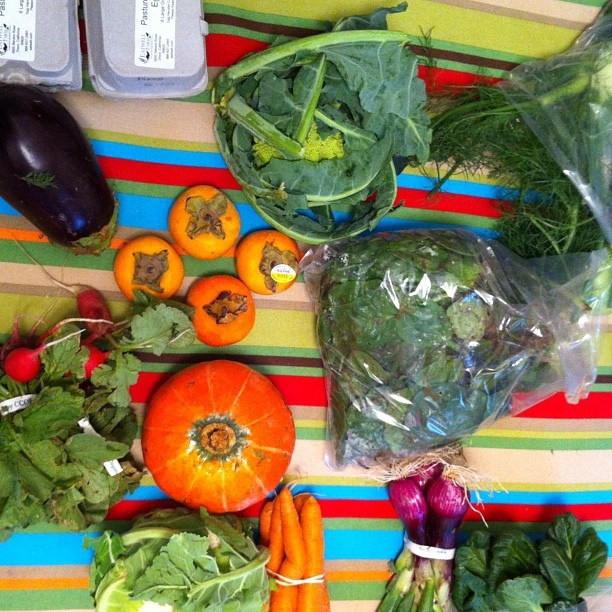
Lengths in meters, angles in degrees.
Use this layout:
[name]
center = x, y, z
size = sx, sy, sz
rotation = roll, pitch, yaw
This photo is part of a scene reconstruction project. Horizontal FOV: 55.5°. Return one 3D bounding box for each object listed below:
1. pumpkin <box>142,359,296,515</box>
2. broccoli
[pumpkin]
center = -0.171, 0.293, 1.362
size = 0.409, 0.312, 0.179
rotation = -5, -9, 16
[broccoli]
center = 0.042, -0.405, 1.261
size = 0.679, 0.500, 0.211
rotation = -10, 4, -7
